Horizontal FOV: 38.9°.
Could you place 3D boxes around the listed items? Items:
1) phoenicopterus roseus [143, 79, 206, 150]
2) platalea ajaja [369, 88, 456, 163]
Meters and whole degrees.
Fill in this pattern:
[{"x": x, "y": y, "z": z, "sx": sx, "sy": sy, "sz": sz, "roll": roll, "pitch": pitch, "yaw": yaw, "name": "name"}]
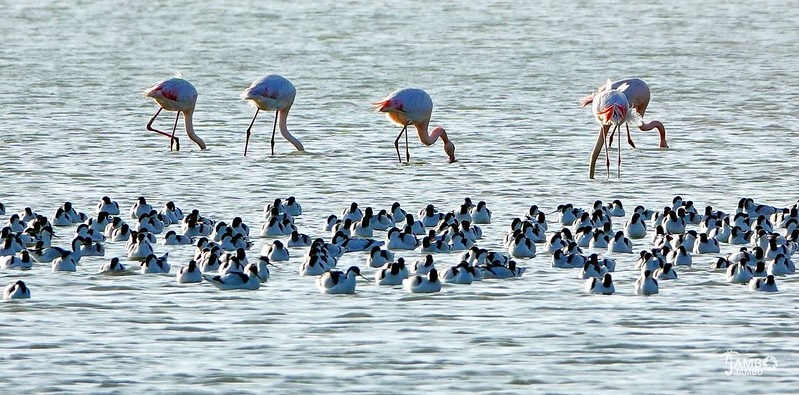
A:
[{"x": -9.055, "y": -3.414, "z": 46.196, "sx": 1.968, "sy": 2.892, "sz": 6.695, "roll": -3, "pitch": 5, "yaw": -10, "name": "phoenicopterus roseus"}, {"x": 1.129, "y": -3.085, "z": 43.175, "sx": 5.406, "sy": 3.092, "sz": 1.776, "roll": -1, "pitch": 10, "yaw": -39, "name": "platalea ajaja"}]
